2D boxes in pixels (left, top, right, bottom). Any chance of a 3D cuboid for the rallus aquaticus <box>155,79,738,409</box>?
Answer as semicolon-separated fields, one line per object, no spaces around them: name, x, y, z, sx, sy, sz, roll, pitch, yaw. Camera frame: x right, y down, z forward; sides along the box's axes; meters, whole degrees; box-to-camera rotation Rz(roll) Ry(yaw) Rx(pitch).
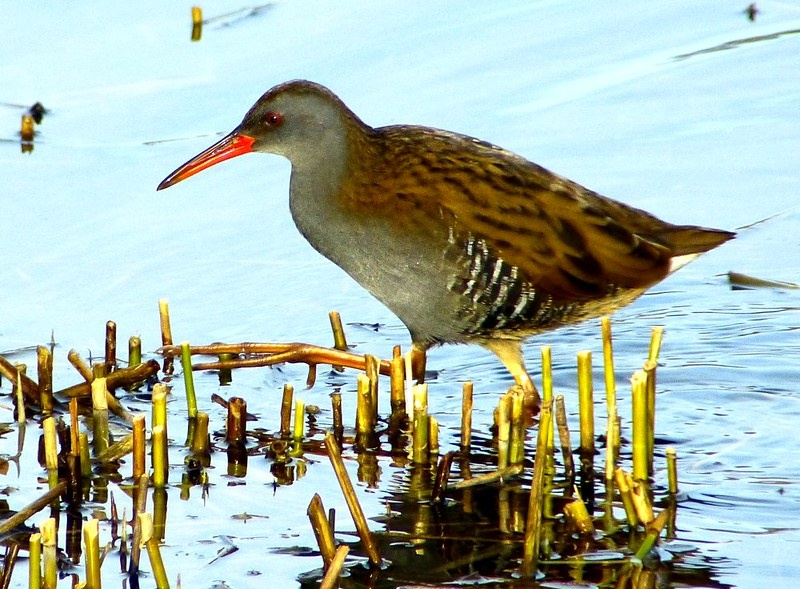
rallus aquaticus;0.326;-0.238;5.398;2.190;1.706;0.535;-4;5;-2
